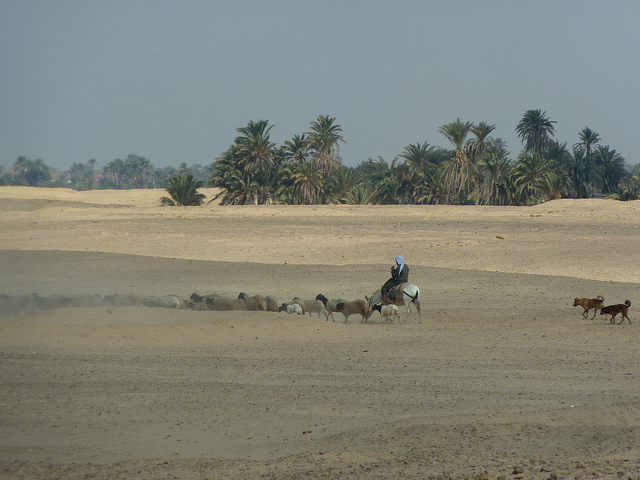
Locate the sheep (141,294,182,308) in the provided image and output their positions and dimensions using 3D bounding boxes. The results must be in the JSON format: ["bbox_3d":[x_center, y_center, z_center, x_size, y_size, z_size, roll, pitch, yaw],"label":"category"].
[{"bbox_3d":[-4.871,1.903,35.831,1.312,0.435,0.650,4,10,8],"label":"sheep"}]

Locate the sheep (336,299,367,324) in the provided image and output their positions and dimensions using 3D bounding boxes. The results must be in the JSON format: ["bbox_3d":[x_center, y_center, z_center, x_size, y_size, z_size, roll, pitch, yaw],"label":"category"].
[{"bbox_3d":[0.986,2.243,35.701,0.939,0.767,0.893,0,9,1],"label":"sheep"}]

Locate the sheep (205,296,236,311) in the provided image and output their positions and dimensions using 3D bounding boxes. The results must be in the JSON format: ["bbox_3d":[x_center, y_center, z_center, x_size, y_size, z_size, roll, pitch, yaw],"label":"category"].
[{"bbox_3d":[-3.038,1.990,35.674,0.472,0.304,0.655,1,4,36],"label":"sheep"}]

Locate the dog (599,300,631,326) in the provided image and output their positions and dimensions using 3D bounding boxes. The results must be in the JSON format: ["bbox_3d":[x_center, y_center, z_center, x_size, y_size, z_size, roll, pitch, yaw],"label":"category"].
[{"bbox_3d":[8.914,2.123,34.667,0.891,0.830,1.250,2,9,15],"label":"dog"}]

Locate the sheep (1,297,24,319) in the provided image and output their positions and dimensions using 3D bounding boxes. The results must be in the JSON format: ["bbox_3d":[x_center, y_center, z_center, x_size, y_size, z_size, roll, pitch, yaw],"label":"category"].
[{"bbox_3d":[-9.285,2.043,34.592,0.516,0.224,0.580,6,14,31],"label":"sheep"}]

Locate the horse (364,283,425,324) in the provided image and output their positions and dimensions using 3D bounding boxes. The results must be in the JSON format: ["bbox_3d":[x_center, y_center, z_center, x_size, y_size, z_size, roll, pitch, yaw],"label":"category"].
[{"bbox_3d":[2.356,2.090,36.382,2.253,1.310,0.693,-10,-10,43],"label":"horse"}]

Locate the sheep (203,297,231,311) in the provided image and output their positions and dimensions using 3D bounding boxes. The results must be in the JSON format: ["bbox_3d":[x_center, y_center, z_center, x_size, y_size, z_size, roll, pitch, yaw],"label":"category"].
[{"bbox_3d":[-3.191,2.012,35.729,0.562,0.237,0.404,9,6,40],"label":"sheep"}]

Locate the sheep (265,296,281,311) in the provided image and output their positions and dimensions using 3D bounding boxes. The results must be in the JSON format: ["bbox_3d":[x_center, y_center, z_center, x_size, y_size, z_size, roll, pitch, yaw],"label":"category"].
[{"bbox_3d":[-1.460,1.991,36.323,0.498,0.499,0.334,-1,5,-29],"label":"sheep"}]

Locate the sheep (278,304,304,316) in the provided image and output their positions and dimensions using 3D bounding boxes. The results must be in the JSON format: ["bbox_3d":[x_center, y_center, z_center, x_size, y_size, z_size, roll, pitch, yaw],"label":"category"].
[{"bbox_3d":[-1.010,2.201,35.822,0.920,0.502,0.280,0,0,16],"label":"sheep"}]

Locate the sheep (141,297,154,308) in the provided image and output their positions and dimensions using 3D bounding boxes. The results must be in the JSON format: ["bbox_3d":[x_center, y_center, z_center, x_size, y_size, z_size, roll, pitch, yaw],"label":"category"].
[{"bbox_3d":[-5.373,1.937,35.722,0.328,0.327,0.249,-3,1,17],"label":"sheep"}]

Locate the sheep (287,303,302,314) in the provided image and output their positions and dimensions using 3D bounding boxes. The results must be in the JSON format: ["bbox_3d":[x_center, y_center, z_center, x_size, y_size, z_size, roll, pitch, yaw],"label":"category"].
[{"bbox_3d":[-0.799,2.175,35.873,0.450,0.303,0.326,0,9,-1],"label":"sheep"}]
